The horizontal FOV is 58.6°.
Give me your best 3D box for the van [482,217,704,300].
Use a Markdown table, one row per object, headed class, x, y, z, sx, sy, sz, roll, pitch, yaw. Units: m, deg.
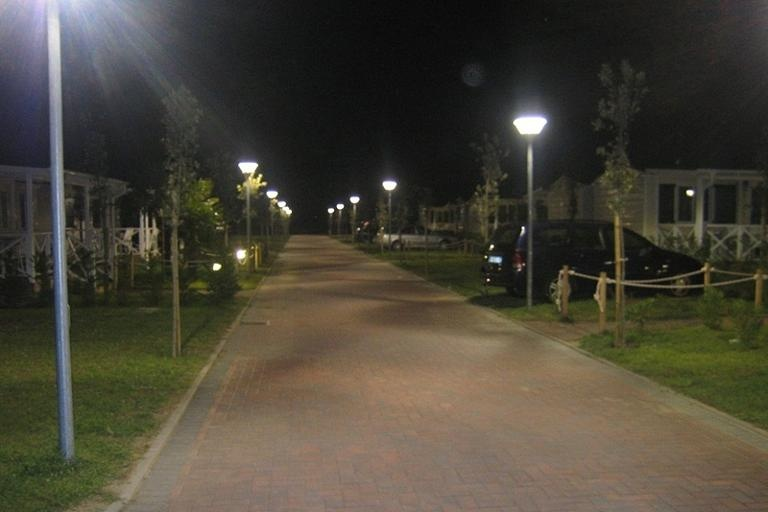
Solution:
| class | x | y | z | sx | sy | sz | roll | pitch | yaw |
| --- | --- | --- | --- | --- | --- | --- | --- | --- | --- |
| van | 5.987 | -0.069 | 20.817 | 5.693 | 2.302 | 2.754 | -2 | 2 | -5 |
